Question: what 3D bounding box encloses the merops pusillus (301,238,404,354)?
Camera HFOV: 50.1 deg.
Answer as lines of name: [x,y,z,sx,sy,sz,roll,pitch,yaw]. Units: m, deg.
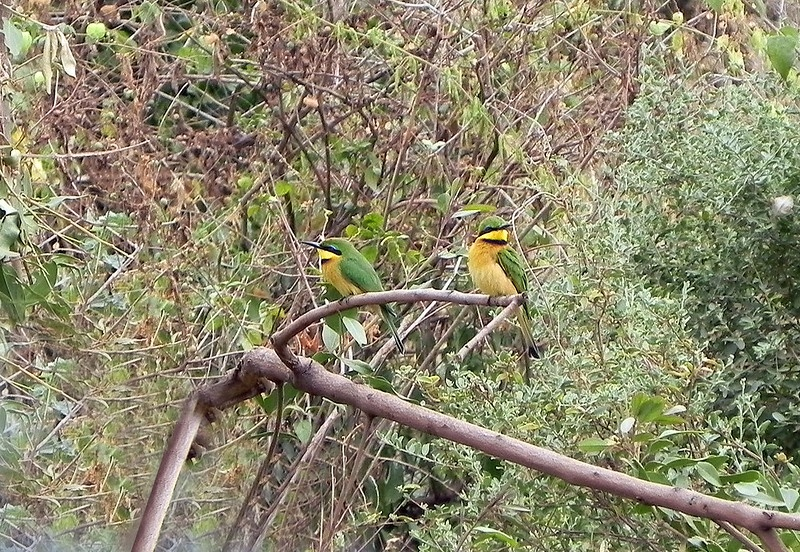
merops pusillus: [-0.249,0.015,4.771,0.674,0.225,0.335,19,79,-25]
